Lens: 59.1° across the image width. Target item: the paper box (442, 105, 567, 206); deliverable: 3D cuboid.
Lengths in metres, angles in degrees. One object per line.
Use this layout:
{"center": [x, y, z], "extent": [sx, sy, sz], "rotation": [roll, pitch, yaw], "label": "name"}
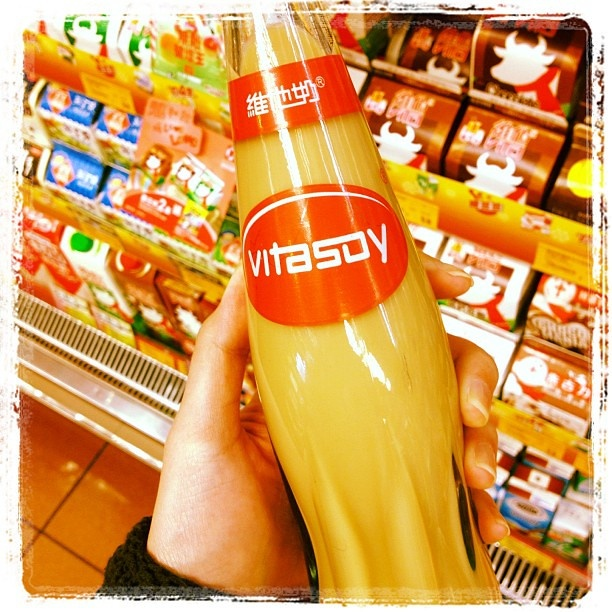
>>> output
{"center": [0.483, -0.356, 1.370], "extent": [0.309, 0.221, 0.153], "rotation": [24, 13, 14], "label": "paper box"}
